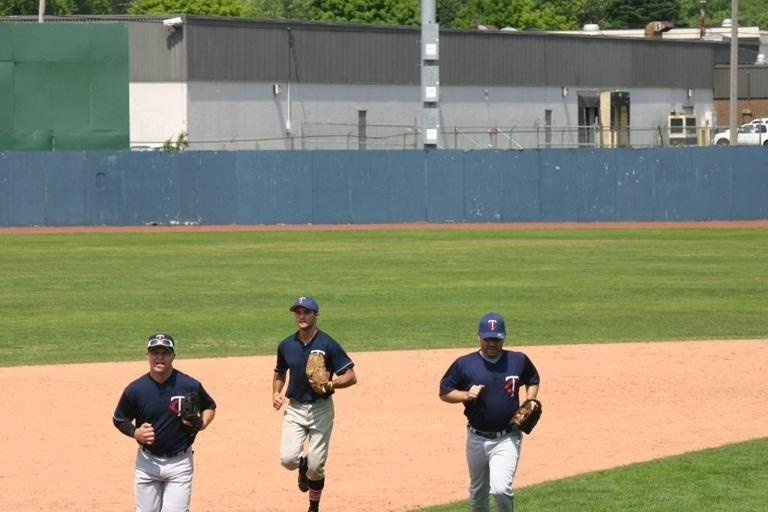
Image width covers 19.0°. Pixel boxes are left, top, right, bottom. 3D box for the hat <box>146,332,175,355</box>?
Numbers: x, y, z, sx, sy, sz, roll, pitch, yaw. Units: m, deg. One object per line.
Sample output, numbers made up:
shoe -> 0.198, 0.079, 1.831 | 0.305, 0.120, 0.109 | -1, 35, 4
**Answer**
hat -> -9.581, 3.833, 97.075 | 0.772, 1.010, 1.011 | -1, 18, -4
